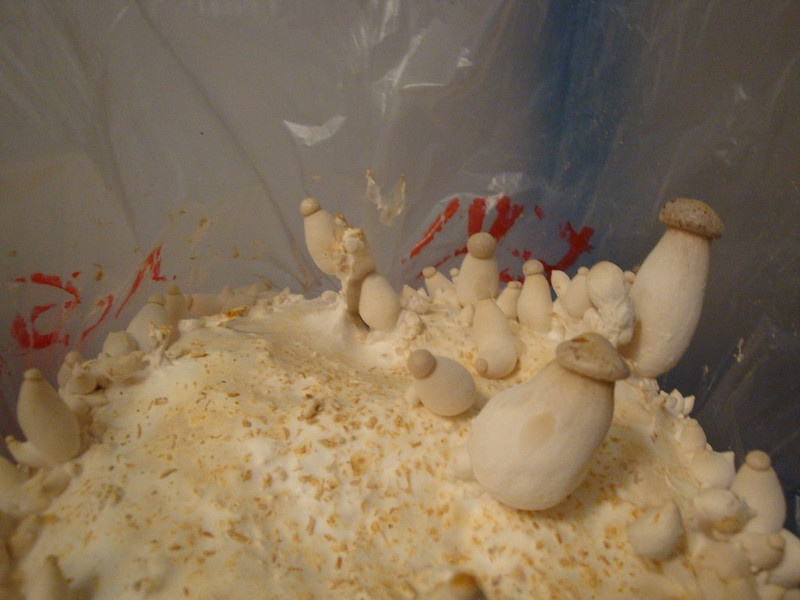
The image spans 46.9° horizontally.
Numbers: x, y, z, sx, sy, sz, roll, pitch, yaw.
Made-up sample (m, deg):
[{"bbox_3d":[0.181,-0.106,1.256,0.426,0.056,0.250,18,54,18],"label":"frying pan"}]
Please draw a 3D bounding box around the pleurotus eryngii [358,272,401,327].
[{"bbox_3d":[-0.084,0.008,4.102,0.169,0.234,0.115,-39,21,-32],"label":"pleurotus eryngii"}]
